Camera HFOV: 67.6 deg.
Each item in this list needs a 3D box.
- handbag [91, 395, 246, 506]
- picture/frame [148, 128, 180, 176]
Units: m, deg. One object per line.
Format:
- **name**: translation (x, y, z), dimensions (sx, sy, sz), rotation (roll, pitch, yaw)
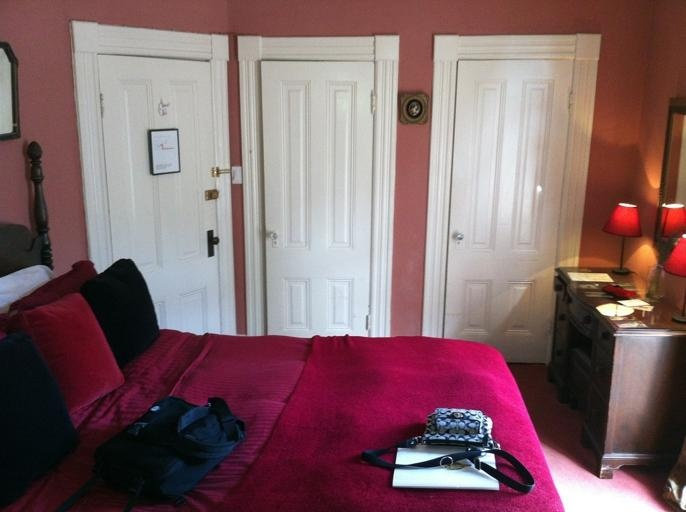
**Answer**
- **handbag**: translation (-0.711, 0.780, 2.142), dimensions (0.345, 0.163, 0.394), rotation (8, 13, 22)
- **picture/frame**: translation (-1.313, -0.762, 3.718), dimensions (0.043, 0.386, 0.315), rotation (7, 13, 31)
